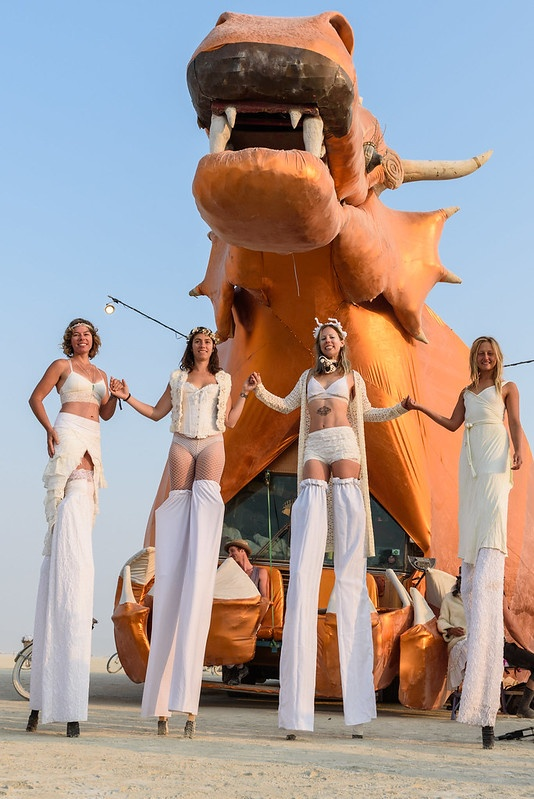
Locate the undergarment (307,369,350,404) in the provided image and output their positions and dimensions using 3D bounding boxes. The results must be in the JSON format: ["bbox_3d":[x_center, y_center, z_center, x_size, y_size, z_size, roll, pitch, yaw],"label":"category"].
[{"bbox_3d":[0.347,-0.103,5.342,0.290,0.185,0.140,-2,-28,15],"label":"undergarment"}]

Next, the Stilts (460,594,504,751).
[{"bbox_3d":[1.041,1.254,4.583,0.202,0.748,0.354,2,-10,12],"label":"Stilts"}]

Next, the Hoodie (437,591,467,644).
[{"bbox_3d":[1.270,1.499,6.537,0.310,0.341,0.107,-3,-35,3],"label":"Hoodie"}]

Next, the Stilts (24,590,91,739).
[{"bbox_3d":[-0.957,1.182,4.466,0.260,0.737,0.517,8,-11,-26],"label":"Stilts"}]

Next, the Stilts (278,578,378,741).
[{"bbox_3d":[0.311,1.239,4.787,0.448,0.879,0.692,-1,-10,26],"label":"Stilts"}]

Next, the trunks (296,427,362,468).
[{"bbox_3d":[0.333,0.252,5.116,0.378,0.230,0.216,-6,-31,17],"label":"trunks"}]

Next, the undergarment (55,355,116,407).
[{"bbox_3d":[-0.925,-0.081,4.648,0.219,0.246,0.154,18,-34,-37],"label":"undergarment"}]

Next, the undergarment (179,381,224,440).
[{"bbox_3d":[-0.362,0.064,4.995,0.341,0.242,0.402,1,27,0],"label":"undergarment"}]
